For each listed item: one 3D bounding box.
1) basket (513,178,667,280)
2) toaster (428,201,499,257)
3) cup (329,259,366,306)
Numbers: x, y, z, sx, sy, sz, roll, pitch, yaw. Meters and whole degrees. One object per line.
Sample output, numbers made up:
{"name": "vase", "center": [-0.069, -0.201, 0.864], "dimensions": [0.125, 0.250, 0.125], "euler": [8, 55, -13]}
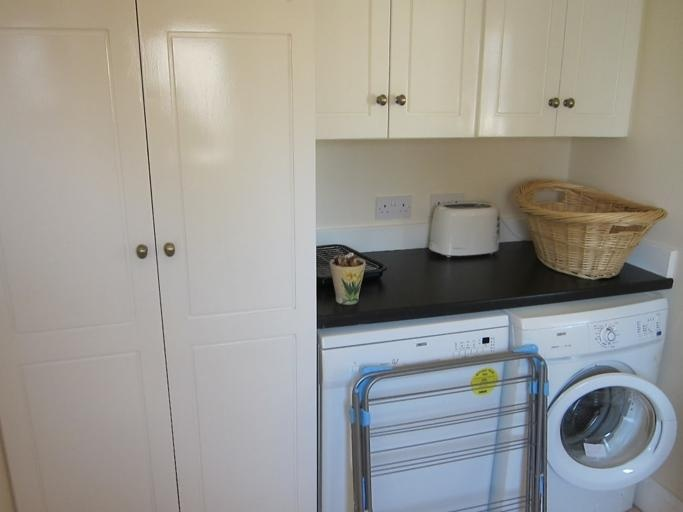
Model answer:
{"name": "basket", "center": [1.042, -0.136, 2.315], "dimensions": [0.492, 0.343, 0.677], "euler": [-9, 19, -25]}
{"name": "toaster", "center": [0.591, -0.141, 2.461], "dimensions": [0.318, 0.226, 0.240], "euler": [-4, 14, -6]}
{"name": "cup", "center": [0.018, 0.088, 1.871], "dimensions": [0.146, 0.171, 0.151], "euler": [0, 7, 0]}
